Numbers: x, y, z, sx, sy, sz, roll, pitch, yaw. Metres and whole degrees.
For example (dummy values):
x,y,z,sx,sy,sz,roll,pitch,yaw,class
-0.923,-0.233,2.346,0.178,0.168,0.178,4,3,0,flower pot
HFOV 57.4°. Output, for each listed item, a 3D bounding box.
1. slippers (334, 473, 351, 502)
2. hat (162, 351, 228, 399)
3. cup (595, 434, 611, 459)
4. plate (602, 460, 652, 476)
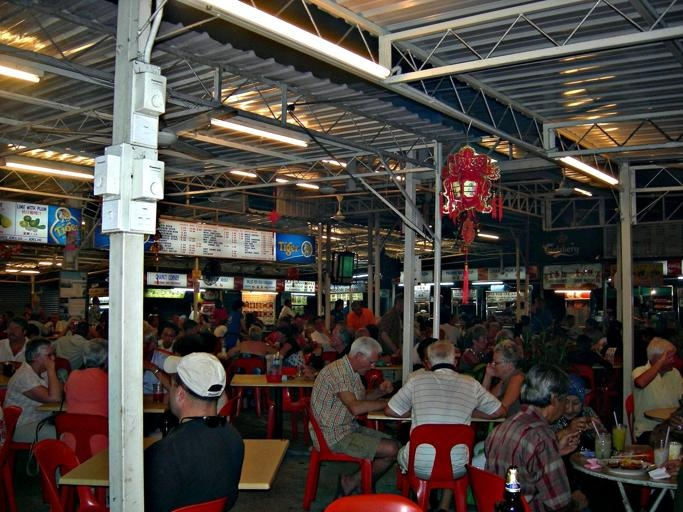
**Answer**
x,y,z,sx,sy,sz,roll,pitch,yaw,class
0.006,2.348,6.236,0.163,0.318,0.114,0,17,1,slippers
-0.919,0.713,4.017,0.382,0.166,0.266,35,34,20,hat
2.125,1.536,5.072,0.114,0.185,0.158,1,-3,17,cup
2.179,1.610,4.754,0.285,0.075,0.290,0,-3,28,plate
